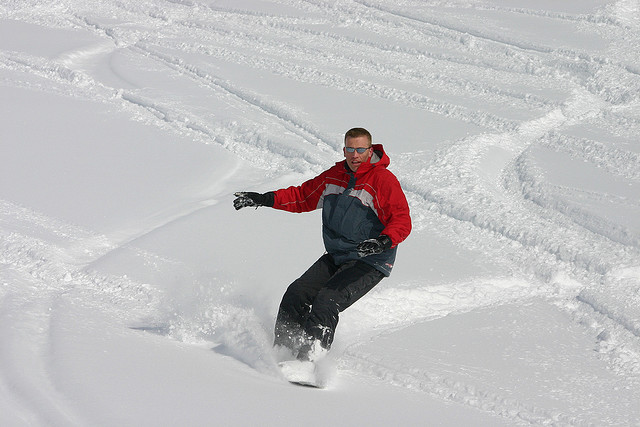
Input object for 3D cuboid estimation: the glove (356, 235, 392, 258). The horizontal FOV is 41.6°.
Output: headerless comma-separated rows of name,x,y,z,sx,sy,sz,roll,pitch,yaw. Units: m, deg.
glove,0.822,0.485,12.565,0.470,0.168,0.269,-32,50,-20
